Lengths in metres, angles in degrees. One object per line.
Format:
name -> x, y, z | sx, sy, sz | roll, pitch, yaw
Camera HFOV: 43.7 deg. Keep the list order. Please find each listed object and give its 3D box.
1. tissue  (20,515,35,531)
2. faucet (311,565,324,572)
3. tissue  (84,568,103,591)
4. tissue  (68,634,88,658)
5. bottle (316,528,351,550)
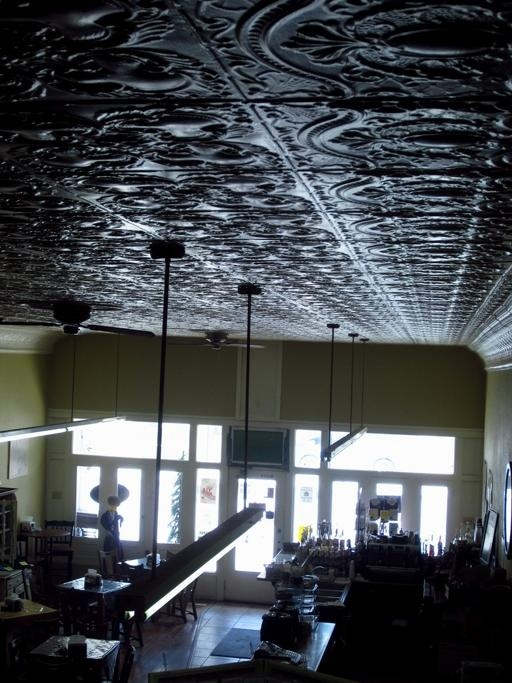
tissue  -> -4.150, 3.305, 11.540 | 0.274, 0.190, 0.730 | 4, -5, -20
faucet -> 0.881, 3.176, 8.957 | 0.079, 0.026, 0.123 | -1, -3, 35
tissue  -> -2.366, 3.387, 9.152 | 0.262, 0.216, 0.230 | 4, 1, 3
tissue  -> -1.749, 2.976, 6.282 | 0.146, 0.215, 0.231 | 2, 4, 4
bottle -> 1.105, 2.971, 9.434 | 0.381, 0.119, 0.470 | 2, -1, -3
